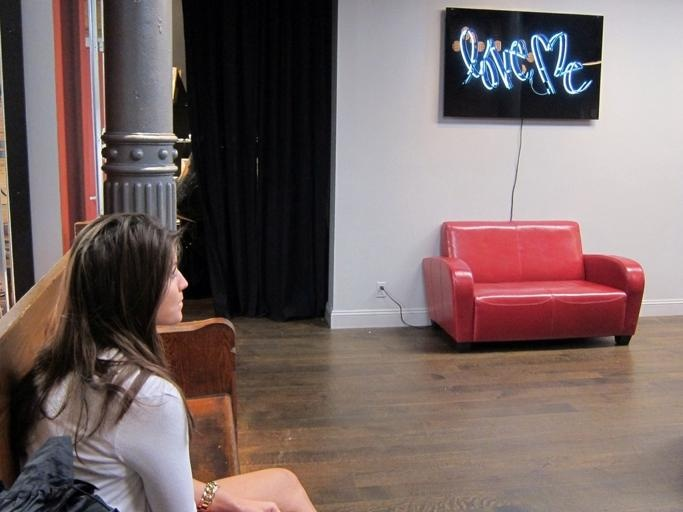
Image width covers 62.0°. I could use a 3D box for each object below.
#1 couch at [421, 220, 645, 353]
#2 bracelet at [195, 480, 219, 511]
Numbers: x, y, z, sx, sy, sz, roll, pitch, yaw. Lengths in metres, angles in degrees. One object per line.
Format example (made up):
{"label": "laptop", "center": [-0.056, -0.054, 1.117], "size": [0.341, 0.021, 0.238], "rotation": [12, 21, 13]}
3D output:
{"label": "couch", "center": [1.490, 0.207, 4.509], "size": [1.521, 0.866, 0.782], "rotation": [-2, 12, -9]}
{"label": "bracelet", "center": [-0.361, 0.647, 1.533], "size": [0.041, 0.077, 0.070], "rotation": [16, -23, 9]}
